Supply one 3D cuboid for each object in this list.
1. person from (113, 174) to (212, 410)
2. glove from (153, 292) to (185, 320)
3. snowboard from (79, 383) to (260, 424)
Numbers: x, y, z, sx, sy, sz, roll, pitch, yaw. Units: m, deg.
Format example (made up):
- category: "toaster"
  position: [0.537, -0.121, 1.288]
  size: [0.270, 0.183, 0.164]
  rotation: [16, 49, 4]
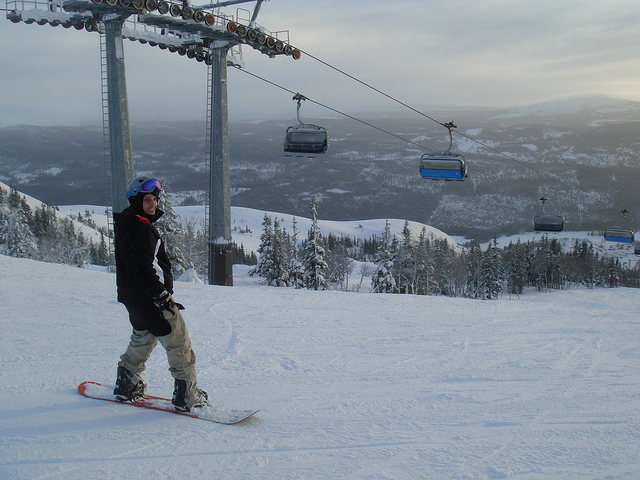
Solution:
- category: "person"
  position: [-3.032, 0.958, 15.191]
  size: [1.694, 3.779, 0.631]
  rotation: [6, 1, -14]
- category: "glove"
  position: [-2.733, 1.187, 15.017]
  size: [0.227, 0.435, 0.529]
  rotation: [-50, 8, -22]
- category: "snowboard"
  position: [-2.886, 3.031, 15.309]
  size: [2.623, 0.122, 0.373]
  rotation: [8, 23, 6]
